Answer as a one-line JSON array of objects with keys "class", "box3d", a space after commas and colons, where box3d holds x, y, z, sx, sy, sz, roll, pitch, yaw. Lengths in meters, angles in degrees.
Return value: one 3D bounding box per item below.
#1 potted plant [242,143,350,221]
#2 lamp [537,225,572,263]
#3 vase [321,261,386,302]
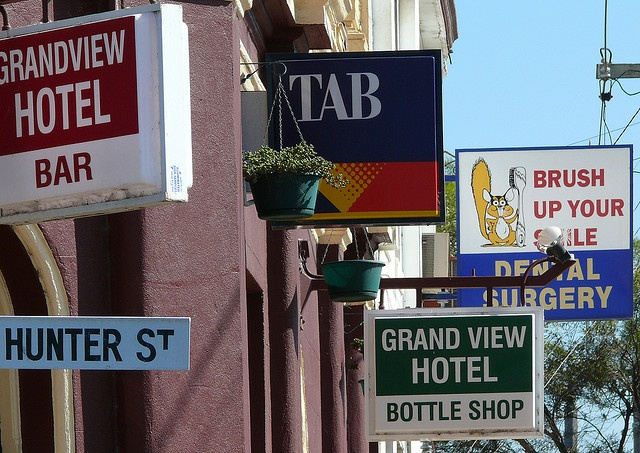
[{"class": "potted plant", "box3d": [-0.349, -0.385, 16.185, 0.702, 0.576, 0.763, -12, -8, 44]}, {"class": "lamp", "box3d": [2.500, 0.193, 19.173, 0.347, 0.385, 0.238, -1, -3, 6]}, {"class": "vase", "box3d": [0.343, 0.542, 18.342, 0.626, 0.407, 0.417, -1, -3, 5]}]
